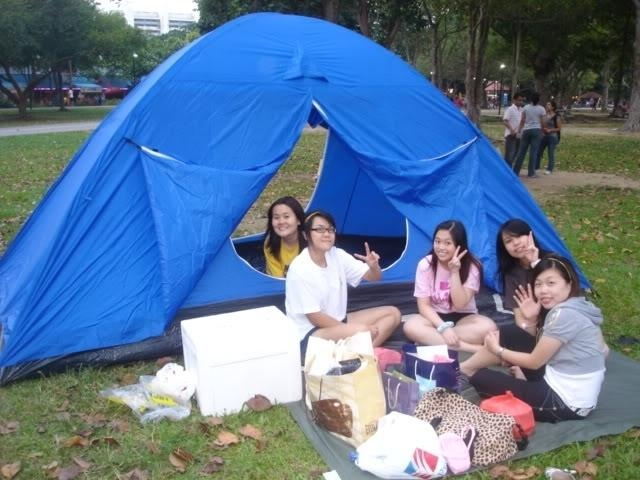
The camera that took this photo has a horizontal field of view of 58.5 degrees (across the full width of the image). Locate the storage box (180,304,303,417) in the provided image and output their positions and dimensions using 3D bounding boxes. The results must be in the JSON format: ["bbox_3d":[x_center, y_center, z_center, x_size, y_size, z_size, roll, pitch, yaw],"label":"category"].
[{"bbox_3d":[-0.572,0.931,4.299,0.882,0.624,0.668,-9,18,-21],"label":"storage box"}]

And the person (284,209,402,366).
[{"bbox_3d":[0.210,0.391,4.842,0.958,1.275,1.016,-8,8,-26],"label":"person"}]

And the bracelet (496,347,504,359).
[{"bbox_3d":[1.364,0.852,4.322,0.042,0.065,0.069,13,-12,18],"label":"bracelet"}]
